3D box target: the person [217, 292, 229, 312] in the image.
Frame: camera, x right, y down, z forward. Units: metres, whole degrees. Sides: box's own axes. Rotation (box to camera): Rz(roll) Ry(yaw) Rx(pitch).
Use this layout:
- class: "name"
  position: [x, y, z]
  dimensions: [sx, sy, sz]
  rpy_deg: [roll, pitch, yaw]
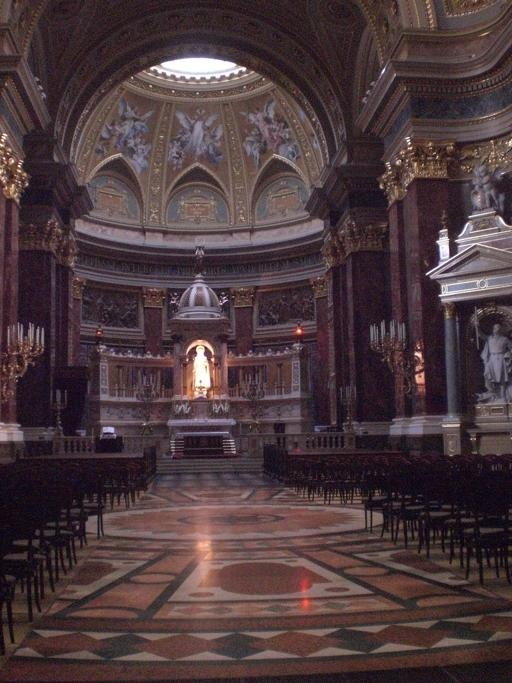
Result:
- class: "person"
  position: [-1.613, -2.088, 39.143]
  dimensions: [0.608, 0.970, 0.484]
  rpy_deg: [3, -9, -28]

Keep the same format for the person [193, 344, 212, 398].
- class: "person"
  position: [-2.220, 1.139, 31.341]
  dimensions: [0.762, 2.135, 0.533]
  rpy_deg: [-1, -8, -5]

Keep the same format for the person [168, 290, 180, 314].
- class: "person"
  position: [-4.184, -1.986, 39.343]
  dimensions: [0.626, 1.172, 0.399]
  rpy_deg: [1, -9, -16]
